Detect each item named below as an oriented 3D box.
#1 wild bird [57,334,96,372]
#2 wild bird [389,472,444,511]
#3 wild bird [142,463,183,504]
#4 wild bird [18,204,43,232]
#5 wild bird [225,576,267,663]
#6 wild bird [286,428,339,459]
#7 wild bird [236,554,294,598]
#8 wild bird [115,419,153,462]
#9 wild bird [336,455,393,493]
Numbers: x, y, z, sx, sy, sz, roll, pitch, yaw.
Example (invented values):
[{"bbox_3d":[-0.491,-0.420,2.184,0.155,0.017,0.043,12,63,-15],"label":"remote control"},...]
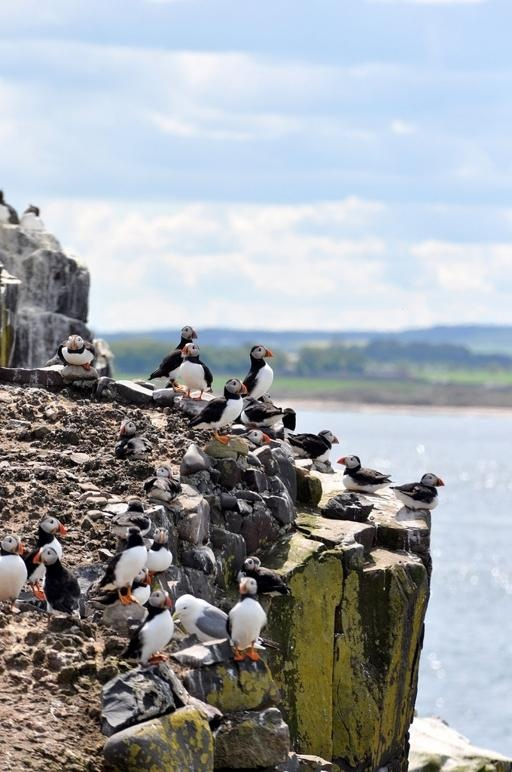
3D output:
[{"bbox_3d":[-2.408,-0.438,22.179,0.387,0.378,0.566,2,7,-1],"label":"wild bird"},{"bbox_3d":[2.210,1.498,22.566,0.622,0.504,0.756,3,0,5],"label":"wild bird"},{"bbox_3d":[-1.048,1.145,18.411,0.325,0.311,0.457,3,-1,7],"label":"wild bird"},{"bbox_3d":[-4.459,-3.382,32.893,0.470,0.549,0.806,3,0,-9],"label":"wild bird"},{"bbox_3d":[-0.094,2.363,16.243,0.362,0.837,0.547,3,0,0],"label":"wild bird"},{"bbox_3d":[0.773,0.898,23.751,0.615,0.441,0.862,3,0,13],"label":"wild bird"},{"bbox_3d":[0.076,2.061,17.386,0.592,0.393,0.336,5,-6,5],"label":"wild bird"},{"bbox_3d":[-1.470,0.716,19.733,0.347,0.350,0.515,-6,-23,1],"label":"wild bird"},{"bbox_3d":[1.495,1.276,22.826,0.775,0.519,0.428,4,-7,9],"label":"wild bird"}]
